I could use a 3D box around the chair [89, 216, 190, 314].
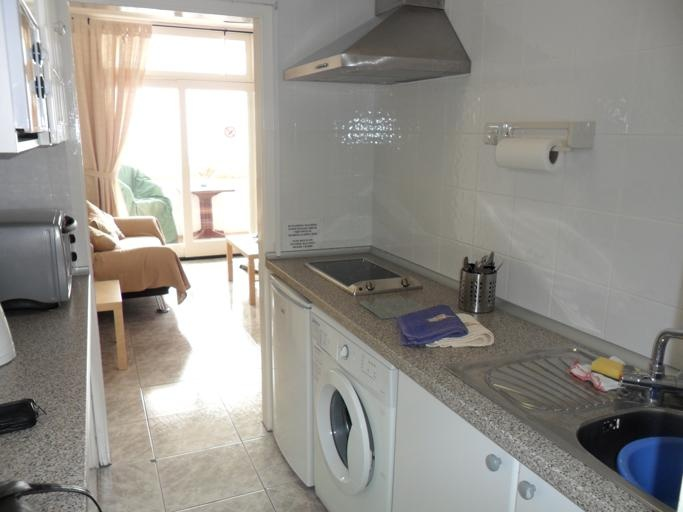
[{"bbox_3d":[-2.140,-0.052,4.997,0.808,0.914,1.583,-7,17,-23],"label":"chair"}]

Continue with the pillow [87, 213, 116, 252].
[{"bbox_3d":[-2.061,-0.191,4.238,0.081,0.289,0.291,-24,9,9],"label":"pillow"}]

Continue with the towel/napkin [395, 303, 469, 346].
[{"bbox_3d":[0.329,0.260,1.866,0.138,0.039,0.156,-12,22,-9],"label":"towel/napkin"}]

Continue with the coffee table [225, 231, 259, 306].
[{"bbox_3d":[-1.081,0.157,5.382,0.323,0.347,0.683,-6,22,-20],"label":"coffee table"}]

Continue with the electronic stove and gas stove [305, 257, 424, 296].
[{"bbox_3d":[0.084,0.086,2.603,0.420,0.058,0.638,-8,15,-25],"label":"electronic stove and gas stove"}]

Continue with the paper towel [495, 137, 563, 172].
[{"bbox_3d":[0.705,-0.385,1.875,0.070,0.117,0.261,-10,16,-33],"label":"paper towel"}]

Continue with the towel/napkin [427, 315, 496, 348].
[{"bbox_3d":[0.406,0.302,1.924,0.235,0.057,0.259,-16,2,-11],"label":"towel/napkin"}]

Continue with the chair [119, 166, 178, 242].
[{"bbox_3d":[-2.438,-0.683,6.158,0.743,0.829,0.584,14,25,26],"label":"chair"}]

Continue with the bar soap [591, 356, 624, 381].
[{"bbox_3d":[0.862,0.362,1.576,0.074,0.046,0.113,-8,15,-27],"label":"bar soap"}]
